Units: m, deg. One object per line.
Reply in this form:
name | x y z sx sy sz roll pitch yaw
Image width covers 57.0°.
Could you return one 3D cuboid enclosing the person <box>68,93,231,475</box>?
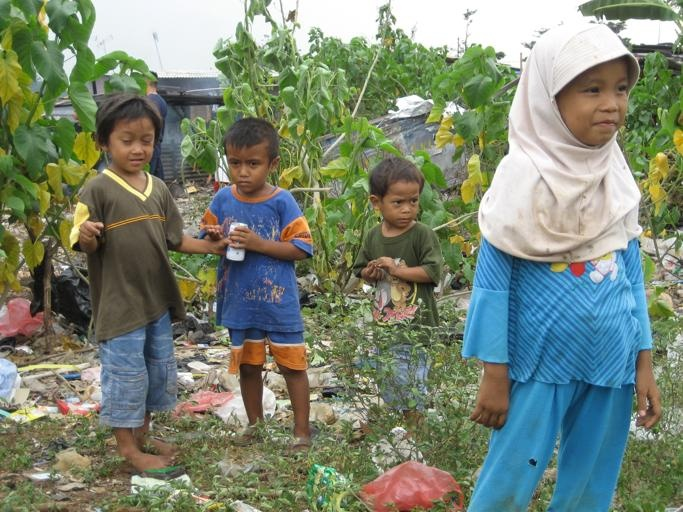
person | -1.023 0.131 3.194 0.688 1.963 0.397 5 -1 -29
